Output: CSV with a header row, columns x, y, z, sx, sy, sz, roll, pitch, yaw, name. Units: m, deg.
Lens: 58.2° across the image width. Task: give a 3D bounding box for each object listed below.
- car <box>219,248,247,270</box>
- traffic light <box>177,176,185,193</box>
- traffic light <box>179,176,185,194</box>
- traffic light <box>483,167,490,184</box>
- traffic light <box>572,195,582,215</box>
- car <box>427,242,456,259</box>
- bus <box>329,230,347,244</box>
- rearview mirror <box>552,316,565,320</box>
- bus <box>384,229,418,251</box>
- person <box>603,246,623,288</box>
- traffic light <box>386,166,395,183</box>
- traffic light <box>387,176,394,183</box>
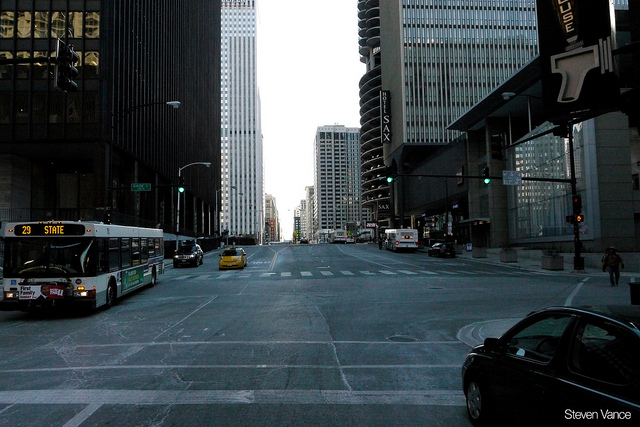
x,y,z,sx,sy,sz,roll,pitch,yaw,name
-7.263,3.949,48.361,1.913,1.656,2.288,0,9,4,car
-10.313,-2.174,42.759,0.410,1.108,0.849,-4,9,-22,traffic light
-10.292,-2.176,42.770,0.344,1.108,0.856,-3,9,-20,traffic light
11.396,-2.647,39.439,0.271,1.137,1.168,3,9,21,traffic light
17.333,-0.590,38.914,0.476,1.296,0.666,3,9,22,traffic light
12.727,3.834,60.587,1.200,1.155,2.649,-1,3,-7,car
4.320,4.732,131.861,3.018,2.871,9.750,0,-4,-2,bus
7.113,3.132,17.142,0.286,0.163,0.118,3,9,20,rearview mirror
9.883,3.316,70.262,3.896,2.717,1.874,8,12,42,bus
16.855,3.037,33.223,0.862,2.126,1.202,4,9,27,person
4.755,-2.693,39.291,0.488,1.151,0.992,3,9,19,traffic light
4.847,-2.383,39.720,0.343,0.506,1.265,1,9,10,traffic light
